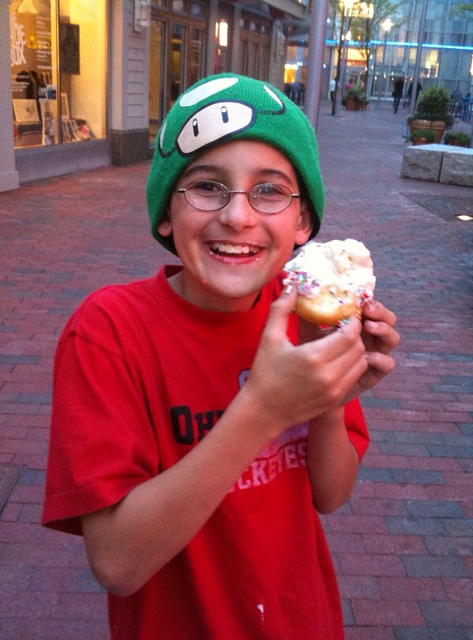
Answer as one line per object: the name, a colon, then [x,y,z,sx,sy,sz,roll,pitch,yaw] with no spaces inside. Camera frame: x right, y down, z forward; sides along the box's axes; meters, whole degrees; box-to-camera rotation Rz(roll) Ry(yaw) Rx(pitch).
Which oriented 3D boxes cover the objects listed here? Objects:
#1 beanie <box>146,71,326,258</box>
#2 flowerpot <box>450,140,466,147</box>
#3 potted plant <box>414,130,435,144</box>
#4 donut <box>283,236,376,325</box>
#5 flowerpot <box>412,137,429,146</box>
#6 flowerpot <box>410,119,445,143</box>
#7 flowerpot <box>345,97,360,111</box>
beanie: [-0.021,-0.316,1.146,0.357,0.420,0.390,17,25,39]
flowerpot: [8.447,-6.820,18.891,0.356,0.194,0.798,-5,27,-20]
potted plant: [7.265,-7.082,19.018,0.524,0.409,0.550,-1,29,-20]
donut: [0.206,-0.109,1.108,0.228,0.192,0.214,-1,20,-15]
flowerpot: [7.144,-6.997,19.224,0.310,0.219,0.326,-8,25,-16]
flowerpot: [8.038,-8.101,20.593,1.267,1.016,1.360,11,20,11]
flowerpot: [9.951,-18.740,42.492,0.951,0.812,1.051,0,20,2]
